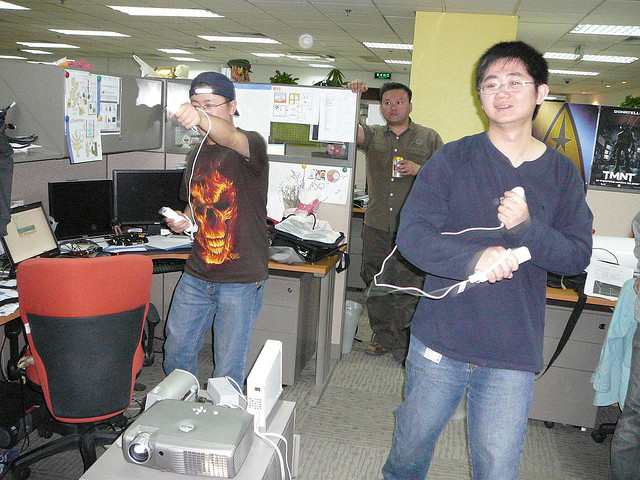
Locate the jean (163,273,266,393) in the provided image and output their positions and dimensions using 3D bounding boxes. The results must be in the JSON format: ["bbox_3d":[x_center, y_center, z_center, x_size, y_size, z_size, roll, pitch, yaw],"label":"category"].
[{"bbox_3d":[-0.590,0.479,2.491,0.420,0.862,0.271,15,19,-5],"label":"jean"}]

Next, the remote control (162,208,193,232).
[{"bbox_3d":[-0.745,-0.099,2.518,0.184,0.096,0.044,34,-18,-7],"label":"remote control"}]

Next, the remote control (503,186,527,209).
[{"bbox_3d":[0.631,-0.136,1.525,0.051,0.061,0.119,9,13,38],"label":"remote control"}]

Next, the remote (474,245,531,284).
[{"bbox_3d":[0.573,0.074,1.482,0.194,0.105,0.047,-2,11,-15],"label":"remote"}]

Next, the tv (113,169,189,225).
[{"bbox_3d":[-1.255,-0.303,3.582,0.176,0.434,0.625,6,9,37],"label":"tv"}]

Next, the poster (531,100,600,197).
[{"bbox_3d":[1.922,-0.735,3.796,0.453,0.714,0.195,6,12,26],"label":"poster"}]

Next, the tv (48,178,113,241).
[{"bbox_3d":[-1.664,-0.203,3.287,0.430,0.379,0.042,-9,14,-38],"label":"tv"}]

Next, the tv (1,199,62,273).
[{"bbox_3d":[-1.654,-0.020,2.722,0.303,0.252,0.354,-15,11,19],"label":"tv"}]

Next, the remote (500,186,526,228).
[{"bbox_3d":[0.644,-0.112,1.550,0.050,0.132,0.103,13,-21,-25],"label":"remote"}]
